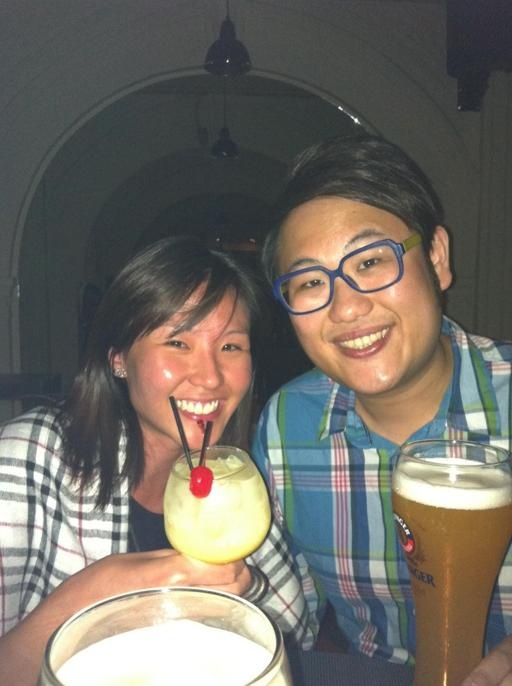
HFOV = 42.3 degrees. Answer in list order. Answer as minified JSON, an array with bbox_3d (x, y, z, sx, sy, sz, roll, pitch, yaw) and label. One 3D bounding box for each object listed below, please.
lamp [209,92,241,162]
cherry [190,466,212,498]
[{"bbox_3d":[-0.312,-2.200,6.555,0.239,0.804,0.222,0,-11,-9],"label":"lamp"},{"bbox_3d":[-0.100,0.257,1.211,0.043,0.060,0.047,-5,-9,-8],"label":"cherry"}]
